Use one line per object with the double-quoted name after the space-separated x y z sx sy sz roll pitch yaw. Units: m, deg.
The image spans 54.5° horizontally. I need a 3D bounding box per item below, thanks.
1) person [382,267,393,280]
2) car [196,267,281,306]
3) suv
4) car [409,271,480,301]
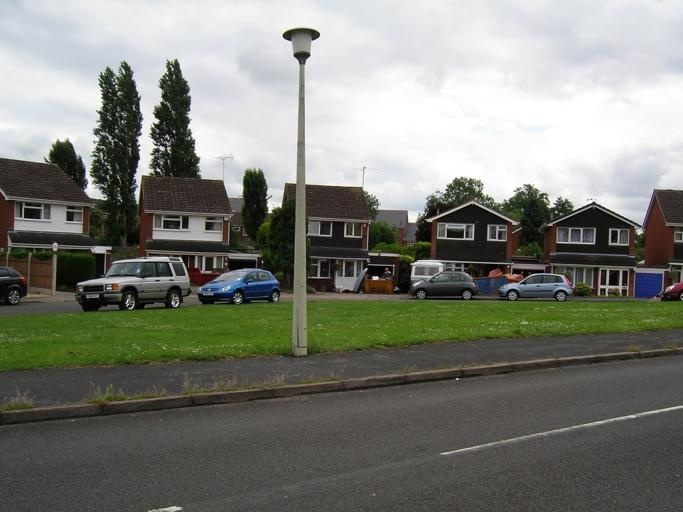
3.769 1.433 54.325 0.736 0.670 1.882 -5 12 7 "person"
-4.909 1.515 32.878 4.166 1.835 1.610 6 -4 -44 "car"
-8.479 1.106 27.625 1.320 2.169 4.641 0 -4 33 "suv"
6.560 1.741 42.226 3.113 1.585 1.941 3 -3 1 "car"
